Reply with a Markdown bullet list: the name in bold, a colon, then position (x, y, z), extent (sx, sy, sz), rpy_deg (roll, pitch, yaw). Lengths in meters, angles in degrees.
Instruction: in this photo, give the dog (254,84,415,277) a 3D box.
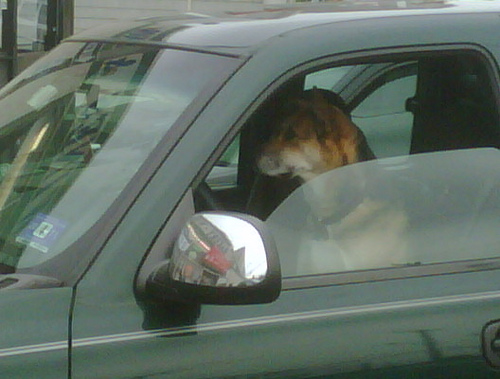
- **dog**: position (0.386, -0.082, 2.779), extent (0.560, 0.804, 0.352), rpy_deg (-14, 29, 4)
